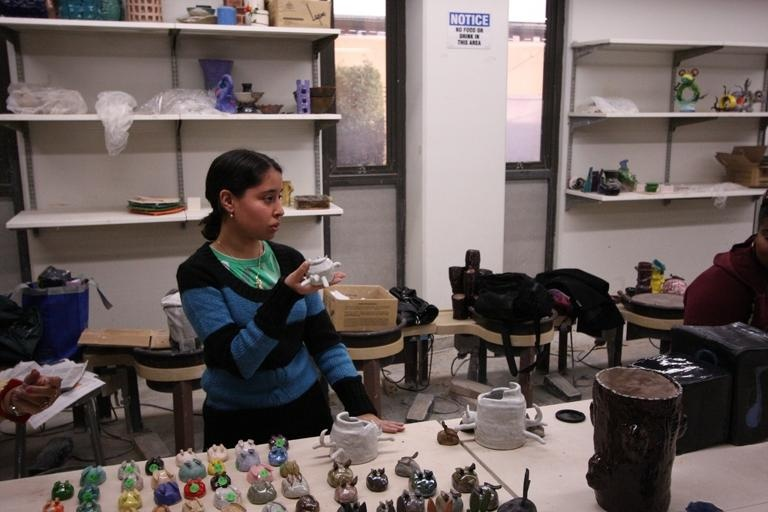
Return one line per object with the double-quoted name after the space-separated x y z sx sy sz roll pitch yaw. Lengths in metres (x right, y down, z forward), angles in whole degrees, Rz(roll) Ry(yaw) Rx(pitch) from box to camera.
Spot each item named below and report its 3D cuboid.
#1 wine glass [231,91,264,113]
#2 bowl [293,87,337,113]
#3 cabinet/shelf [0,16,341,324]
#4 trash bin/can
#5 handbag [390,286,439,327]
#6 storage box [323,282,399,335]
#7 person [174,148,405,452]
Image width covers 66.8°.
-0.964 -1.066 4.126 0.173 0.105 0.164 -3 5 -29 "wine glass"
-0.478 -1.139 4.347 0.280 0.179 0.286 -5 7 1 "bowl"
-1.534 -0.603 3.776 2.314 1.984 0.594 -3 9 -20 "cabinet/shelf"
-2.011 0.401 3.581 0.336 0.448 0.145 -9 13 -25 "trash bin/can"
0.189 0.341 3.949 0.260 0.100 0.258 -10 29 -42 "handbag"
-0.142 0.313 3.634 0.374 0.181 0.363 -3 17 -13 "storage box"
-0.436 0.201 2.287 0.672 1.230 0.547 -8 12 -20 "person"
